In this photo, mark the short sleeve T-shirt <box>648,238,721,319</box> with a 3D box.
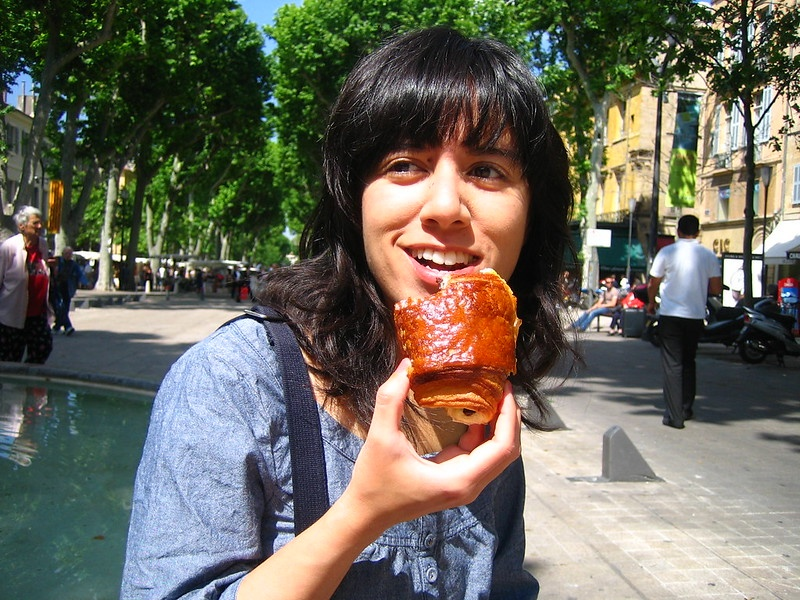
[{"bbox_3d":[3.456,-0.262,8.290,0.766,1.013,0.484,1,-3,12],"label":"short sleeve T-shirt"}]

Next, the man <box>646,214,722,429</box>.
[{"bbox_3d":[3.493,0.248,8.540,0.810,2.643,0.871,2,-3,-13],"label":"man"}]

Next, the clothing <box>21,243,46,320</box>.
[{"bbox_3d":[-4.983,-0.234,9.214,0.275,0.958,0.251,-5,-11,-6],"label":"clothing"}]

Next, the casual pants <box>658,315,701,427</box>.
[{"bbox_3d":[3.443,0.891,8.407,0.490,1.346,0.806,0,-3,25],"label":"casual pants"}]

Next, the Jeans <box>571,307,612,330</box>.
[{"bbox_3d":[4.908,0.468,17.305,0.510,0.500,2.526,7,9,31],"label":"Jeans"}]

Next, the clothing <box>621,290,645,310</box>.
[{"bbox_3d":[7.632,0.091,22.450,0.573,0.631,0.220,10,-14,33],"label":"clothing"}]

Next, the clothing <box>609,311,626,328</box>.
[{"bbox_3d":[7.206,0.647,22.772,0.448,0.684,0.208,4,-4,-15],"label":"clothing"}]

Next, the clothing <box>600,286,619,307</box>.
[{"bbox_3d":[6.987,-0.086,22.869,0.295,0.583,0.503,7,19,-40],"label":"clothing"}]
